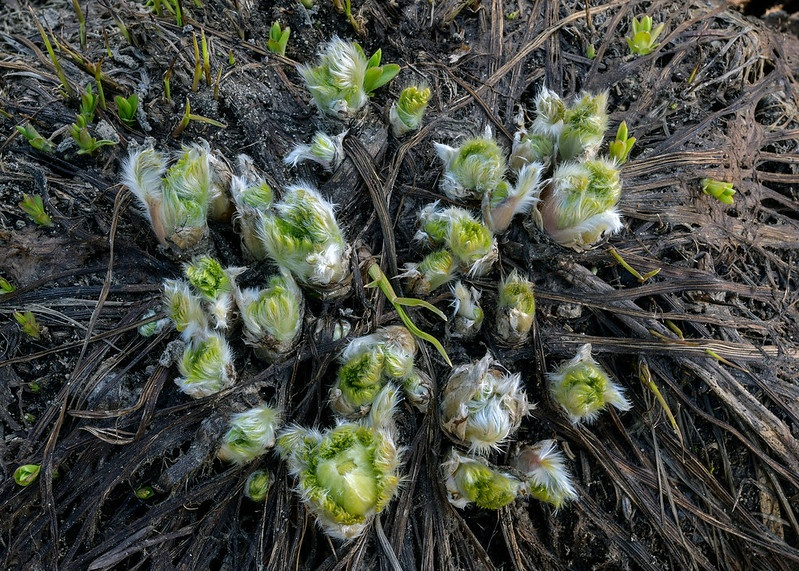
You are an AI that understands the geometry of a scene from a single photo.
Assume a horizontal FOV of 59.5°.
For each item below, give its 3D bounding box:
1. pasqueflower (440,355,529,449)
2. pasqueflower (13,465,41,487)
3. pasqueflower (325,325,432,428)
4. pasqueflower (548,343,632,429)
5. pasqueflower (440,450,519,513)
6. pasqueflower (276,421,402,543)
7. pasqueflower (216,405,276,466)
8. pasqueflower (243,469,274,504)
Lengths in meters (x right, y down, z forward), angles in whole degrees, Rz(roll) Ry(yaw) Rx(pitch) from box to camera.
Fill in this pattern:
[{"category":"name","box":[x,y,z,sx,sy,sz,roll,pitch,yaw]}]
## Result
[{"category":"pasqueflower","box":[0.431,0.631,3.490,0.330,0.423,0.475,-13,42,1]},{"category":"pasqueflower","box":[-1.778,0.900,3.345,0.113,0.046,0.098,-38,110,-32]},{"category":"pasqueflower","box":[-0.122,0.423,3.410,0.427,0.233,0.412,-10,70,-5]},{"category":"pasqueflower","box":[0.913,0.503,3.505,0.345,0.165,0.428,-19,98,-3]},{"category":"pasqueflower","box":[0.392,0.952,3.350,0.247,0.187,0.330,-26,42,-23]},{"category":"pasqueflower","box":[-0.302,0.853,3.305,0.459,0.356,0.618,-22,31,-27]},{"category":"pasqueflower","box":[-0.736,0.720,3.419,0.276,0.096,0.219,-30,96,4]},{"category":"pasqueflower","box":[-0.691,0.976,3.429,0.103,0.148,0.141,13,94,3]}]
